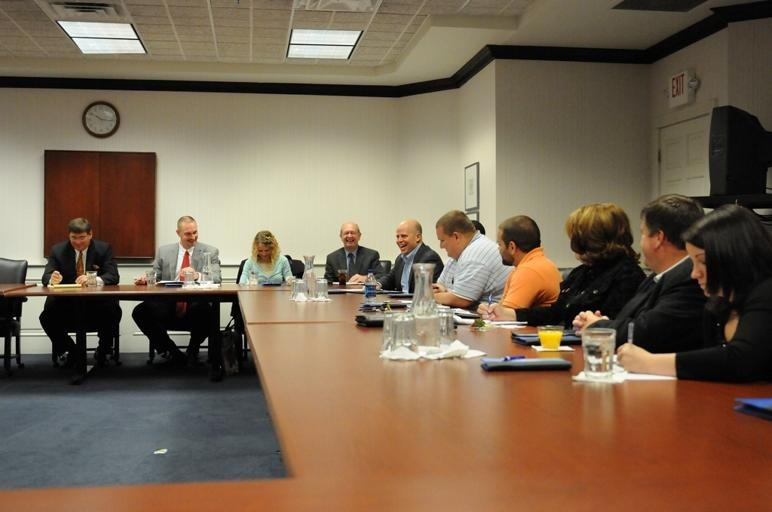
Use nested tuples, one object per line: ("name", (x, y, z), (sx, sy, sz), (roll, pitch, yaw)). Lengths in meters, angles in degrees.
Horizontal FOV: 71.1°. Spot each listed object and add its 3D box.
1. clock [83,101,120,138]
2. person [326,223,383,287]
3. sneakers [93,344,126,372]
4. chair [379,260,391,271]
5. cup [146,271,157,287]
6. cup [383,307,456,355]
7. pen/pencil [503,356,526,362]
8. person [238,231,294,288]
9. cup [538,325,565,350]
("clock", (-3.729, -1.781, 7.092), (0.463, 0.474, 0.092), (-1, 8, -9))
("person", (-0.418, -0.006, 6.442), (0.629, 0.936, 0.513), (-3, -14, 0))
("sneakers", (-3.013, 1.114, 5.834), (0.275, 0.297, 0.375), (1, 1, -32))
("chair", (-0.017, 0.116, 6.515), (0.112, 0.142, 0.113), (1, -7, -1))
("cup", (-2.260, 0.214, 5.286), (0.122, 0.141, 0.124), (0, -7, 0))
("cup", (0.130, 0.278, 2.013), (0.217, 0.088, 0.156), (-3, -1, 14))
("pen/pencil", (0.443, 0.356, 1.879), (0.016, 0.012, 0.114), (-6, -8, 34))
("person", (-1.445, 0.055, 6.343), (0.592, 0.837, 0.431), (-1, -8, -8))
("cup", (0.650, 0.325, 2.154), (0.086, 0.072, 0.091), (-1, -5, 0))
